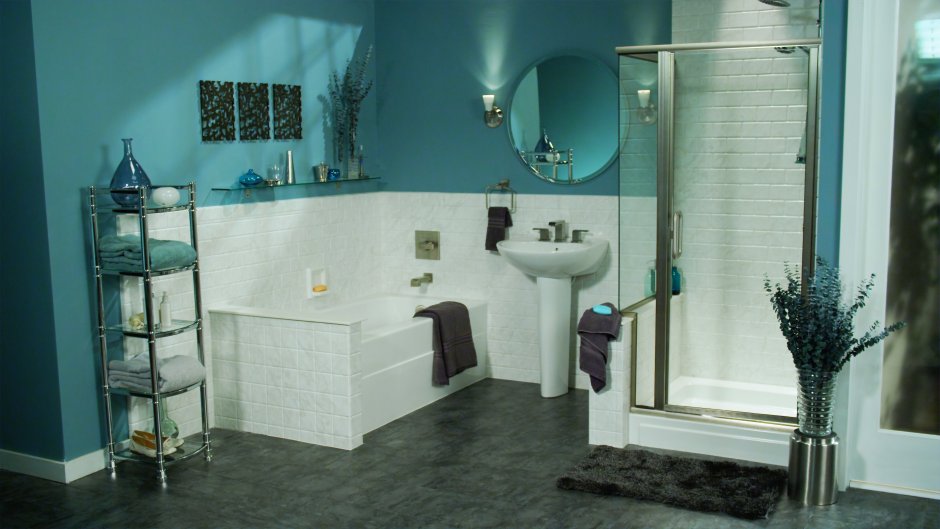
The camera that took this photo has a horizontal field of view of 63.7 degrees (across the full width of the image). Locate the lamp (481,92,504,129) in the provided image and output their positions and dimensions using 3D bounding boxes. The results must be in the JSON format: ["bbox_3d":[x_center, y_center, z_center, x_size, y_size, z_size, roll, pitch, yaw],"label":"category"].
[{"bbox_3d":[0.200,-1.573,7.796,0.268,0.291,0.259,-2,-5,29],"label":"lamp"}]

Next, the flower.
[{"bbox_3d":[-1.245,-1.691,7.932,0.178,1.231,0.683,2,11,24],"label":"flower"}]

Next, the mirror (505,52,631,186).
[{"bbox_3d":[0.990,-1.450,7.409,1.721,1.582,0.087,1,1,14],"label":"mirror"}]

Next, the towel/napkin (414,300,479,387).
[{"bbox_3d":[-0.189,0.771,7.364,0.755,0.712,0.278,-10,8,-43],"label":"towel/napkin"}]

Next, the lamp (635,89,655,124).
[{"bbox_3d":[1.454,-1.330,6.304,0.138,0.277,0.041,-2,10,6],"label":"lamp"}]

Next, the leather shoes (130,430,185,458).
[{"bbox_3d":[-2.634,1.476,6.247,0.316,0.098,0.220,3,3,14],"label":"leather shoes"}]

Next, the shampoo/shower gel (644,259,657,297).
[{"bbox_3d":[1.516,0.112,6.422,0.091,0.318,0.026,0,11,16],"label":"shampoo/shower gel"}]

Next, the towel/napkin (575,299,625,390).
[{"bbox_3d":[1.090,0.712,6.391,0.372,0.733,0.253,-4,10,-7],"label":"towel/napkin"}]

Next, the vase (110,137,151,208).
[{"bbox_3d":[-2.671,-0.736,6.063,0.375,0.553,0.325,1,10,22],"label":"vase"}]

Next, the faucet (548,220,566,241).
[{"bbox_3d":[0.875,-0.340,7.565,0.214,0.200,0.092,-5,10,-14],"label":"faucet"}]

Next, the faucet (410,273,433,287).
[{"bbox_3d":[-0.533,0.165,8.106,0.165,0.105,0.187,5,7,37],"label":"faucet"}]

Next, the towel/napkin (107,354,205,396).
[{"bbox_3d":[-2.625,0.899,6.276,0.645,0.212,0.638,2,3,29],"label":"towel/napkin"}]

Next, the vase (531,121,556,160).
[{"bbox_3d":[0.742,-1.219,7.676,0.199,0.383,0.185,-1,9,-26],"label":"vase"}]

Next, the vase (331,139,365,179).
[{"bbox_3d":[-1.274,-1.093,7.861,0.412,0.490,0.383,3,12,9],"label":"vase"}]
